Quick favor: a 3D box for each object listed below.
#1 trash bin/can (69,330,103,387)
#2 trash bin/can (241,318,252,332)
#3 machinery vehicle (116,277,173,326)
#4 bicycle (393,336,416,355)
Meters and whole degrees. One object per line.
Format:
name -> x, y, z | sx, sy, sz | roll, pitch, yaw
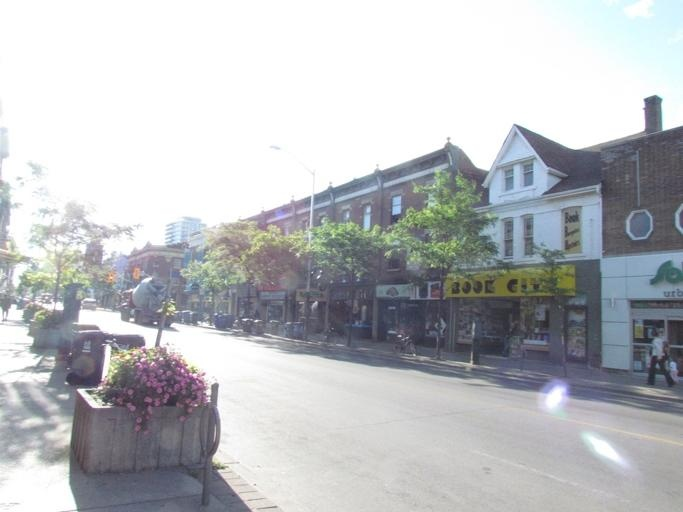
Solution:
trash bin/can -> -6.629, 2.635, 14.651 | 0.777, 1.374, 0.531 | 6, -8, -27
trash bin/can -> -7.077, 5.177, 42.251 | 0.668, 1.016, 1.778 | 4, -8, -13
machinery vehicle -> -14.809, 2.434, 43.176 | 2.477, 3.529, 6.917 | 1, 19, -30
bicycle -> 3.200, 4.505, 28.721 | 0.655, 0.807, 1.274 | 2, -8, -32
